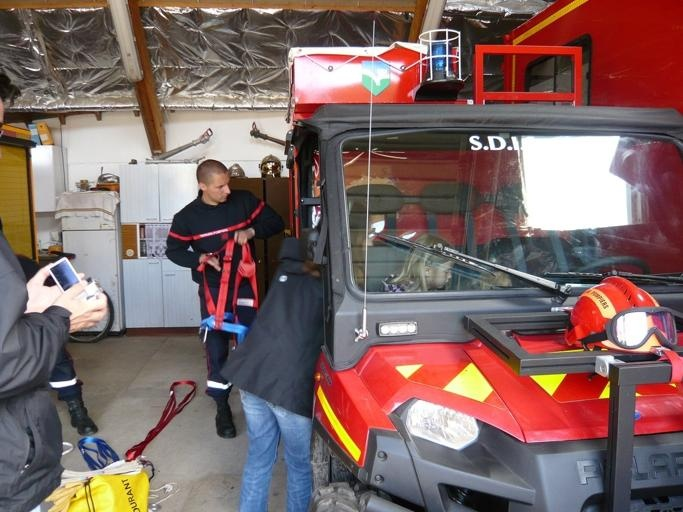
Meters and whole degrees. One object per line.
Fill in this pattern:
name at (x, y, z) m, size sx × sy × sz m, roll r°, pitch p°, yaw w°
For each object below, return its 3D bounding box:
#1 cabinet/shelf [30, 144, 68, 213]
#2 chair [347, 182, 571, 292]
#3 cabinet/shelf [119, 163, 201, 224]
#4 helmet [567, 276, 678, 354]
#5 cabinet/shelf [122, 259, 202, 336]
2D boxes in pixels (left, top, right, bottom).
cabinet/shelf at (-4.324, -1.137, 7.609) m, size 0.406 × 0.989 × 0.535 m, roll -3°, pitch 9°, yaw -18°
chair at (0.404, -0.072, 2.030) m, size 0.778 × 0.471 × 0.305 m, roll -1°, pitch -6°, yaw 1°
cabinet/shelf at (-2.517, -0.881, 7.345) m, size 1.135 × 0.819 × 0.395 m, roll -2°, pitch 1°, yaw 5°
helmet at (1.044, 0.232, 1.912) m, size 0.282 × 0.272 × 0.294 m, roll -3°, pitch 9°, yaw -19°
cabinet/shelf at (-2.467, 0.541, 7.584) m, size 1.191 × 1.086 × 0.662 m, roll -1°, pitch -4°, yaw 13°
